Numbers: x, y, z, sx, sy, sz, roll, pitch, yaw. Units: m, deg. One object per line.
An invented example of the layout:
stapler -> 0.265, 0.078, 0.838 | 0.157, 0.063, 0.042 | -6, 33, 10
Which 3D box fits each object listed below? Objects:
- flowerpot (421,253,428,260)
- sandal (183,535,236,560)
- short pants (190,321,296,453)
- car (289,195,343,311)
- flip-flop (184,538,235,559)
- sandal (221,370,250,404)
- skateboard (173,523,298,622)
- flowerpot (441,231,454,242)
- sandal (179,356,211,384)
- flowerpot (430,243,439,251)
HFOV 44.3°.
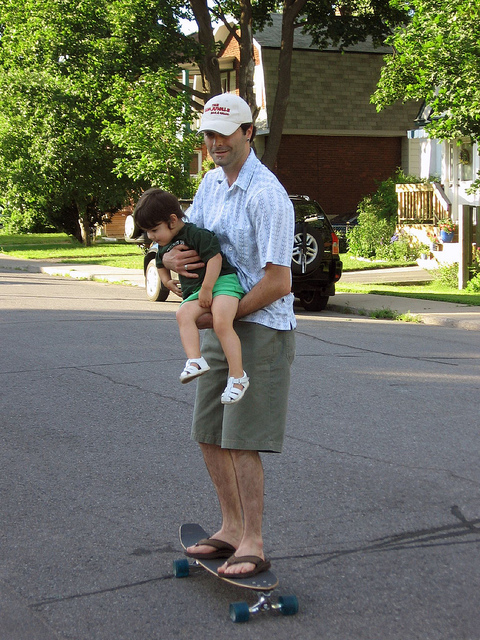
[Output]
flowerpot -> 6.804, -2.381, 21.755 | 0.210, 0.196, 0.378 | -1, 2, 6
sandal -> -0.121, 0.893, 2.321 | 0.201, 0.054, 0.074 | 1, 19, -6
short pants -> 0.001, 0.258, 2.275 | 0.392, 0.510, 0.362 | 1, 7, 9
car -> 1.607, -1.382, 12.464 | 1.067, 2.513, 1.599 | 1, 7, 7
flip-flop -> -0.116, 0.900, 2.318 | 0.192, 0.053, 0.074 | 0, 18, -7
sandal -> -0.013, 0.253, 2.112 | 0.094, 0.121, 0.151 | 0, 7, 1
skateboard -> -0.076, 0.946, 2.240 | 0.175, 0.095, 0.596 | -8, 8, -29
flowerpot -> 7.501, -2.966, 21.344 | 0.363, 0.300, 0.375 | 0, 5, -10
sandal -> -0.166, 0.193, 2.252 | 0.060, 0.062, 0.140 | -30, -5, 28
flowerpot -> 7.095, -2.624, 21.623 | 0.251, 0.321, 0.344 | 2, -1, -7
